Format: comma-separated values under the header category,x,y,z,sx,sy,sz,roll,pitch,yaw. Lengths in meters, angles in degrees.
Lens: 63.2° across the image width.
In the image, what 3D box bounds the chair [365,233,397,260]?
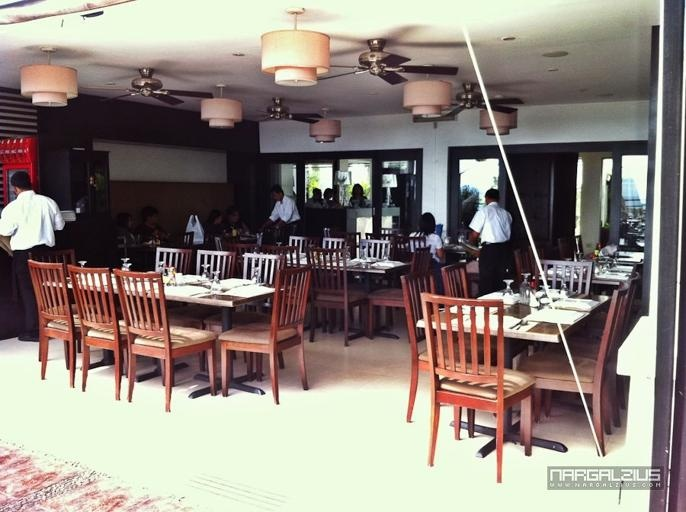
category,x,y,z,sx,sy,sz,roll,pitch,yaw
chair,0.493,-0.113,7.232,0.330,0.424,0.315,0,-2,28

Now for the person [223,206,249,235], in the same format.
category,x,y,z,sx,sy,sz,roll,pitch,yaw
person,-1.798,-0.575,9.316,0.357,0.450,1.006,0,9,-2

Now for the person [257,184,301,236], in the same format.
category,x,y,z,sx,sy,sz,roll,pitch,yaw
person,-1.091,-0.792,9.587,0.501,0.828,0.607,6,12,33

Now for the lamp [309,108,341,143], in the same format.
category,x,y,z,sx,sy,sz,roll,pitch,yaw
lamp,-0.253,-1.989,8.274,0.585,0.558,0.577,-1,-2,1

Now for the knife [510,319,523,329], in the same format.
category,x,y,z,sx,sy,sz,roll,pitch,yaw
knife,1.105,0.437,3.547,0.035,0.026,0.227,-2,11,26

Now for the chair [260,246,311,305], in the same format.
category,x,y,z,sx,sy,sz,roll,pitch,yaw
chair,-0.654,0.048,6.216,0.338,0.547,0.370,6,12,30

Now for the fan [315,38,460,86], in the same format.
category,x,y,z,sx,sy,sz,roll,pitch,yaw
fan,0.465,-1.729,5.049,0.738,0.338,1.414,-1,9,-5

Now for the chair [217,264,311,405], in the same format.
category,x,y,z,sx,sy,sz,roll,pitch,yaw
chair,-0.629,0.583,4.418,0.650,1.052,0.452,3,10,16

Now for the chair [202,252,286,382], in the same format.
category,x,y,z,sx,sy,sz,roll,pitch,yaw
chair,-0.635,0.621,4.568,0.634,0.928,0.603,0,3,10

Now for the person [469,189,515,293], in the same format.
category,x,y,z,sx,sy,sz,roll,pitch,yaw
person,1.884,-0.129,7.097,0.562,1.554,0.519,-13,27,-9

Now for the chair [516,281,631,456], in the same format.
category,x,y,z,sx,sy,sz,roll,pitch,yaw
chair,1.569,0.674,4.238,1.005,1.497,0.921,3,9,28

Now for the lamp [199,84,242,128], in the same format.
category,x,y,z,sx,sy,sz,roll,pitch,yaw
lamp,-1.447,-1.769,6.609,0.493,0.468,0.495,6,10,22

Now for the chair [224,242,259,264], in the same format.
category,x,y,z,sx,sy,sz,roll,pitch,yaw
chair,-1.153,-0.031,6.259,0.229,0.326,0.219,7,14,29

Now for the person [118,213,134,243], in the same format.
category,x,y,z,sx,sy,sz,roll,pitch,yaw
person,-3.133,-0.420,7.997,0.206,0.393,1.025,-4,10,-21

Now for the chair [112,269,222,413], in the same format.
category,x,y,z,sx,sy,sz,roll,pitch,yaw
chair,-1.369,0.603,4.276,0.685,1.072,0.453,2,10,13

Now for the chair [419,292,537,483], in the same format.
category,x,y,z,sx,sy,sz,roll,pitch,yaw
chair,0.875,0.762,3.497,0.636,1.050,0.677,0,5,18

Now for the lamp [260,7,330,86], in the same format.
category,x,y,z,sx,sy,sz,roll,pitch,yaw
lamp,-0.358,-1.556,4.151,0.480,0.505,0.407,-1,10,-6

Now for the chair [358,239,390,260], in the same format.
category,x,y,z,sx,sy,sz,roll,pitch,yaw
chair,0.421,-0.089,7.139,0.295,0.477,0.324,1,0,26

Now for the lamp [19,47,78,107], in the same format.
category,x,y,z,sx,sy,sz,roll,pitch,yaw
lamp,-2.665,-1.671,5.253,0.532,0.541,0.524,0,-1,-3
